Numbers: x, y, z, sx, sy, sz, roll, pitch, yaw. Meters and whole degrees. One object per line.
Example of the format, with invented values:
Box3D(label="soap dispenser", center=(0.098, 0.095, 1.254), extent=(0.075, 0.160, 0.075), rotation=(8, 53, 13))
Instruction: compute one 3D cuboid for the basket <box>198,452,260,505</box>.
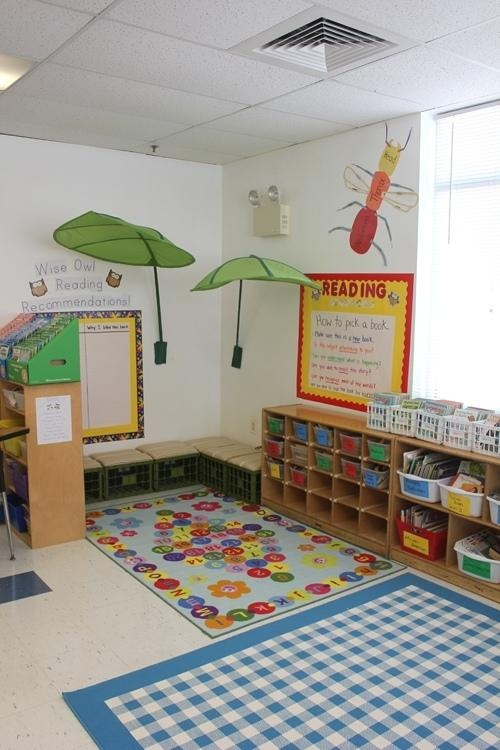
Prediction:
Box3D(label="basket", center=(-0.182, 0.874, 4.823), extent=(0.350, 0.258, 0.588), rotation=(-2, 7, -43))

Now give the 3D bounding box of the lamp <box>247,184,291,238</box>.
Box3D(label="lamp", center=(0.174, -1.403, 4.786), extent=(0.165, 0.536, 0.553), rotation=(-5, 8, -36))

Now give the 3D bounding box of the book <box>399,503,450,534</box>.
Box3D(label="book", center=(1.034, 0.867, 3.384), extent=(0.155, 0.062, 0.189), rotation=(-3, 4, -28))
